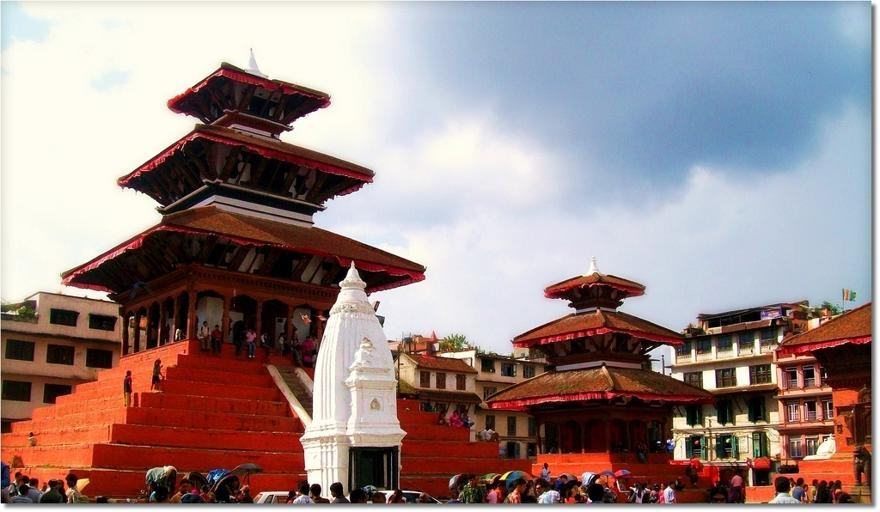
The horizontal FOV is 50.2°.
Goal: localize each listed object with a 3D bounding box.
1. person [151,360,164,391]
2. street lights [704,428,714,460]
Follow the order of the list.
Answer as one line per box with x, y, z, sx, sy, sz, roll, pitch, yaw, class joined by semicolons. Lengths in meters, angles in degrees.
-10.694;4.457;35.622;0.363;1.361;1.021;7;-23;-17;person
18.277;12.773;63.813;0.584;2.078;0.852;-4;-22;10;street lights
